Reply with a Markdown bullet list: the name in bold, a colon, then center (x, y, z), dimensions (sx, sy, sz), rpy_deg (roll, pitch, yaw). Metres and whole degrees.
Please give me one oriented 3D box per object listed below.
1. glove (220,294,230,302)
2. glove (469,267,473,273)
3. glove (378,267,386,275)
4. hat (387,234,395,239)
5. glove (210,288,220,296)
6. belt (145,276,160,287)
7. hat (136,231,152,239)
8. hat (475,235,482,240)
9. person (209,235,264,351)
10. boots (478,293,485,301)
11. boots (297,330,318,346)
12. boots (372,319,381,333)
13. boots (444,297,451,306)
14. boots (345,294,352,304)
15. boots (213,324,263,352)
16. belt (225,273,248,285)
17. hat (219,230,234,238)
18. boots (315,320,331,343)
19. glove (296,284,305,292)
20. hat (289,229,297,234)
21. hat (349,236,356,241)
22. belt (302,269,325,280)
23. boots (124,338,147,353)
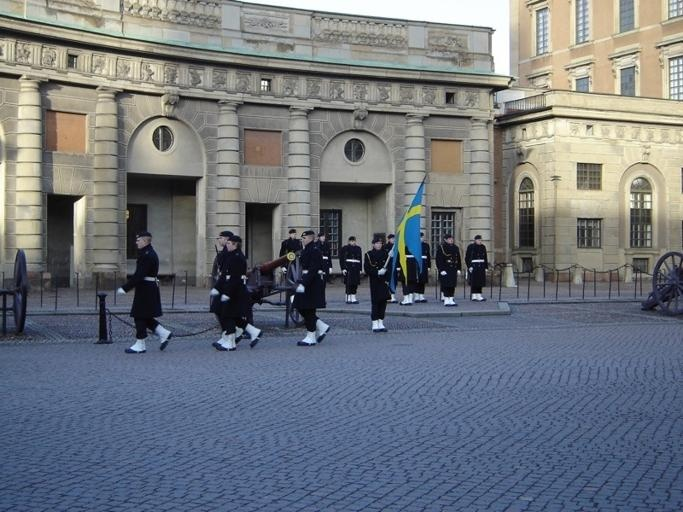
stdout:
- **glove**: center (-2.437, 0.869, 21.065), dimensions (0.144, 0.130, 0.146), rpy_deg (5, -7, 38)
- **glove**: center (4.090, 0.422, 31.692), dimensions (0.162, 0.168, 0.129), rpy_deg (0, -8, 11)
- **glove**: center (0.957, 0.375, 23.880), dimensions (0.108, 0.108, 0.147), rpy_deg (-3, 11, -19)
- **hat**: center (1.661, -0.667, 33.541), dimensions (0.384, 0.156, 0.451), rpy_deg (-1, 1, -1)
- **glove**: center (-2.698, 0.754, 21.442), dimensions (0.154, 0.160, 0.114), rpy_deg (-2, -17, -17)
- **belt**: center (-4.011, 0.536, 21.377), dimensions (0.265, 0.205, 0.215), rpy_deg (2, -10, -18)
- **hat**: center (-4.290, -0.464, 21.808), dimensions (0.434, 0.191, 0.470), rpy_deg (0, 0, -21)
- **hat**: center (4.422, -0.659, 32.482), dimensions (0.236, 0.145, 0.353), rpy_deg (0, -3, 3)
- **person**: center (-2.313, 0.792, 21.414), dimensions (0.944, 2.403, 0.900), rpy_deg (-6, 9, -38)
- **boots**: center (4.414, 1.322, 31.999), dimensions (0.158, 0.261, 0.371), rpy_deg (4, -8, -43)
- **boots**: center (-0.735, 1.782, 21.786), dimensions (0.437, 0.275, 0.490), rpy_deg (0, 7, -2)
- **boots**: center (0.831, 1.658, 23.950), dimensions (0.267, 0.267, 0.177), rpy_deg (4, 8, 28)
- **boots**: center (3.136, 1.369, 29.599), dimensions (0.214, 0.223, 0.549), rpy_deg (1, 7, 6)
- **boots**: center (0.226, 1.335, 31.373), dimensions (0.206, 0.271, 0.682), rpy_deg (0, -7, -7)
- **boots**: center (-2.261, 1.744, 21.337), dimensions (1.342, 0.617, 0.420), rpy_deg (-2, -1, -42)
- **belt**: center (-2.219, 0.502, 21.348), dimensions (0.285, 0.158, 0.234), rpy_deg (-4, 4, 2)
- **hat**: center (-2.524, -0.517, 22.217), dimensions (0.225, 0.120, 0.313), rpy_deg (1, -5, 17)
- **boots**: center (-0.404, 1.622, 22.167), dimensions (0.289, 0.538, 0.722), rpy_deg (0, 7, 0)
- **glove**: center (-0.881, 0.695, 21.852), dimensions (0.151, 0.076, 0.208), rpy_deg (4, 7, 4)
- **hat**: center (-1.541, -0.776, 31.126), dimensions (0.178, 0.090, 0.238), rpy_deg (1, 2, -44)
- **hat**: center (0.338, -0.565, 32.185), dimensions (0.170, 0.095, 0.235), rpy_deg (0, 1, -1)
- **belt**: center (-0.662, 0.401, 22.129), dimensions (0.355, 0.240, 0.262), rpy_deg (1, -2, -3)
- **boots**: center (-4.253, 1.880, 20.787), dimensions (0.459, 0.444, 0.207), rpy_deg (5, -8, -12)
